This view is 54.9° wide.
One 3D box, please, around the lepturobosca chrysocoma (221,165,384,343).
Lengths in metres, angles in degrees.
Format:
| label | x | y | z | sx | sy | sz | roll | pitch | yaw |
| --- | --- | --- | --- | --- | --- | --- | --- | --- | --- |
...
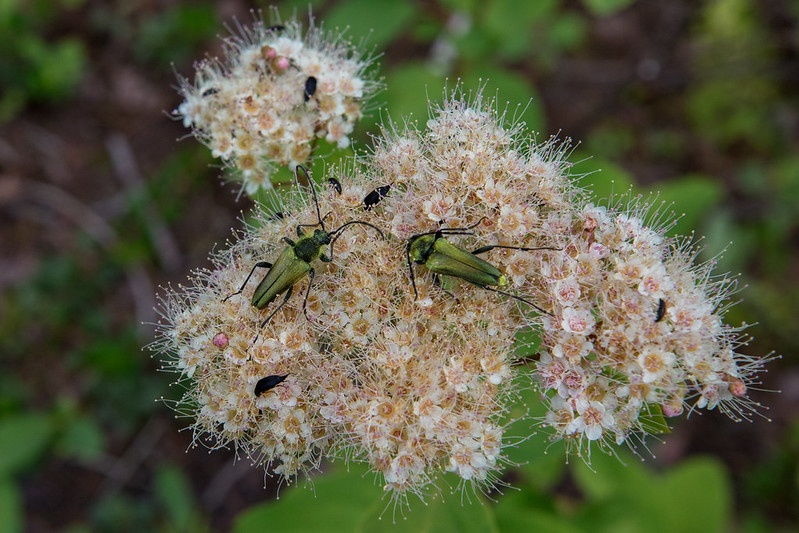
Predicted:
| label | x | y | z | sx | sy | sz | roll | pitch | yaw |
| --- | --- | --- | --- | --- | --- | --- | --- | --- | --- |
| lepturobosca chrysocoma | -1.120 | -0.033 | 8.518 | 1.136 | 0.486 | 1.473 | 37 | 81 | 12 |

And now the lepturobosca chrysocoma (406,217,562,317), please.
| label | x | y | z | sx | sy | sz | roll | pitch | yaw |
| --- | --- | --- | --- | --- | --- | --- | --- | --- | --- |
| lepturobosca chrysocoma | 0.723 | -0.050 | 8.275 | 1.694 | 0.501 | 1.639 | 11 | 96 | 11 |
